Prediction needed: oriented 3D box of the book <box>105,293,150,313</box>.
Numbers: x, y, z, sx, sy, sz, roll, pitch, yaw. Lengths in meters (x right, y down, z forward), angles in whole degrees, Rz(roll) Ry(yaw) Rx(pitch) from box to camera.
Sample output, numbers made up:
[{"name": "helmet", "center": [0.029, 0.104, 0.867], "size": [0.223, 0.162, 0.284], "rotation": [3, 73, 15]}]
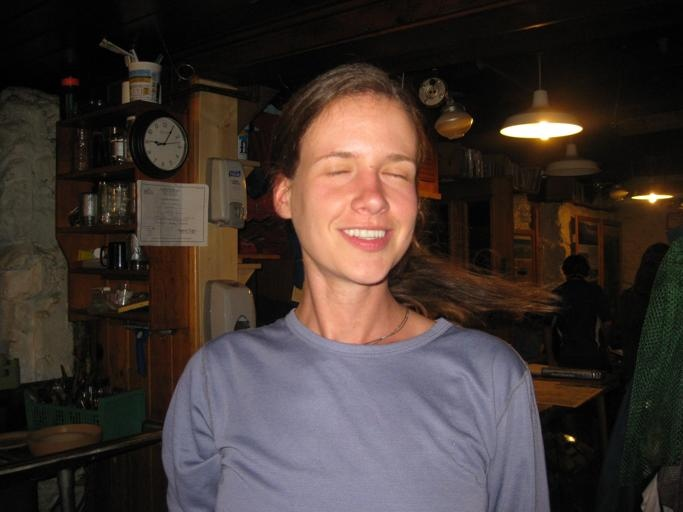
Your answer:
[{"name": "book", "center": [-1.456, 0.327, 4.353], "size": [0.179, 0.049, 0.203], "rotation": [3, 2, 15]}]

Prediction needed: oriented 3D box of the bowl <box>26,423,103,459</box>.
[{"name": "bowl", "center": [-1.544, 1.022, 3.575], "size": [0.335, 0.176, 0.336], "rotation": [2, 0, 0]}]

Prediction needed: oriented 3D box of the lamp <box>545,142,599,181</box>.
[{"name": "lamp", "center": [2.342, -0.892, 6.379], "size": [0.481, 0.275, 0.494], "rotation": [1, 3, 34]}]

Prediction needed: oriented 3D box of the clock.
[{"name": "clock", "center": [-1.165, -0.710, 4.056], "size": [0.093, 0.536, 0.465], "rotation": [-1, 0, 42]}]

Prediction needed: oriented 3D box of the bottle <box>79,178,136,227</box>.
[{"name": "bottle", "center": [-1.631, -0.358, 4.456], "size": [0.465, 0.350, 0.289], "rotation": [-2, -4, 29]}]

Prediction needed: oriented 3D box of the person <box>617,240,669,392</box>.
[{"name": "person", "center": [2.299, 0.538, 4.970], "size": [0.239, 0.982, 3.208], "rotation": [2, 0, 24]}]

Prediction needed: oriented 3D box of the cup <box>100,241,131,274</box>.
[{"name": "cup", "center": [-1.563, -0.001, 4.475], "size": [0.267, 0.243, 0.172], "rotation": [1, -2, -7]}]

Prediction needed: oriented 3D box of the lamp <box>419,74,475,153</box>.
[{"name": "lamp", "center": [0.807, -1.157, 4.911], "size": [0.282, 0.476, 0.297], "rotation": [-1, 15, 46]}]

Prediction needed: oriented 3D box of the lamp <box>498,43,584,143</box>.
[{"name": "lamp", "center": [1.610, -1.205, 5.127], "size": [0.670, 0.769, 0.736], "rotation": [1, -4, 2]}]

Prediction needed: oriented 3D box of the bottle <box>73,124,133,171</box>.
[{"name": "bottle", "center": [-1.639, -0.742, 4.419], "size": [0.351, 0.260, 0.195], "rotation": [1, 2, 34]}]

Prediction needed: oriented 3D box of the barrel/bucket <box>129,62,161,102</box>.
[{"name": "barrel/bucket", "center": [-1.254, -1.098, 4.064], "size": [0.194, 0.275, 0.154], "rotation": [2, 0, -20]}]
